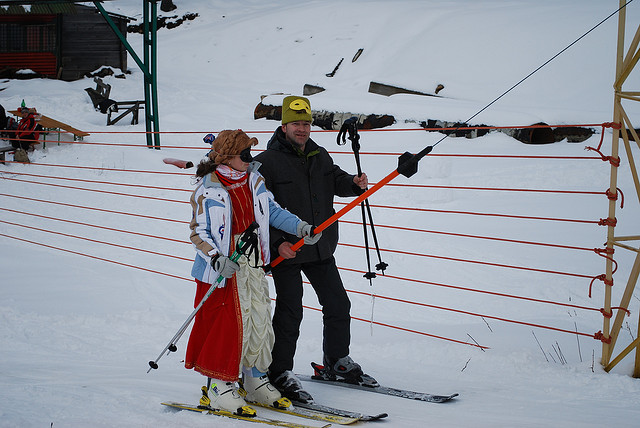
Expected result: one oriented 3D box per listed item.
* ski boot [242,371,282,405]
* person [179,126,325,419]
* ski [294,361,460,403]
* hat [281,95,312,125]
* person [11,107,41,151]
[{"bbox_3d":[-0.613,1.868,6.818,0.493,0.453,0.170,7,12,25],"label":"ski boot"},{"bbox_3d":[-0.856,0.610,6.683,1.191,3.010,0.814,6,8,-12],"label":"person"},{"bbox_3d":[0.659,1.918,7.028,1.947,0.161,0.212,5,18,22],"label":"ski"},{"bbox_3d":[-0.272,-1.192,7.066,0.326,0.276,0.317,1,-9,-9],"label":"hat"},{"bbox_3d":[-6.482,-1.853,13.605,0.430,1.063,0.745,2,3,-44],"label":"person"}]
